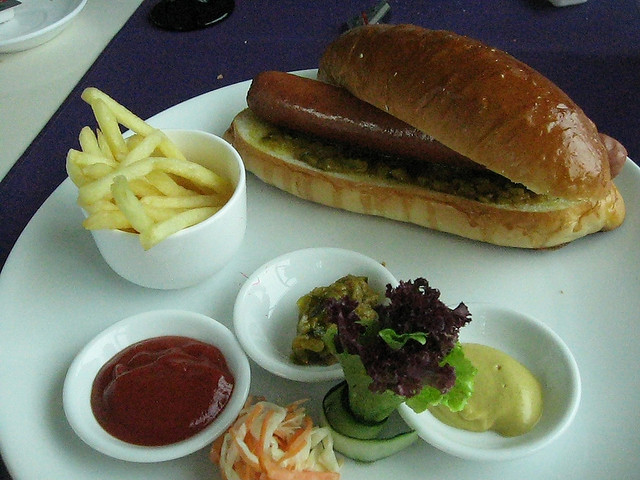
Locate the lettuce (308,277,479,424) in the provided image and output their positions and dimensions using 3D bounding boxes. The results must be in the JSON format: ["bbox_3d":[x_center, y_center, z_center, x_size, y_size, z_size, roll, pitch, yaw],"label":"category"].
[{"bbox_3d":[0.312,0.433,2.279,0.592,0.513,0.458,-1,61,1],"label":"lettuce"}]

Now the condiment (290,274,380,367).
[{"bbox_3d":[0.053,0.341,2.603,0.407,0.118,0.309,-53,38,10],"label":"condiment"}]

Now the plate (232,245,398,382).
[{"bbox_3d":[-0.033,0.352,2.703,0.665,0.270,0.737,-5,41,-5],"label":"plate"}]

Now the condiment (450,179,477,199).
[{"bbox_3d":[0.707,-0.251,2.972,0.102,0.036,0.085,17,42,0],"label":"condiment"}]
